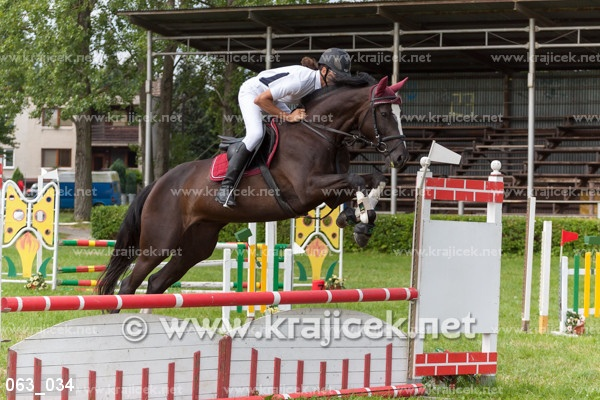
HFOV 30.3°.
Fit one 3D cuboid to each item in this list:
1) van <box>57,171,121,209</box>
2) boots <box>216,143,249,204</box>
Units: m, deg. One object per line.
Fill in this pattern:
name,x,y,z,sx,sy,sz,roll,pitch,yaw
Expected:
van,-7.775,-0.401,40.654,3.688,1.703,1.648,0,-1,4
boots,-1.242,-0.419,20.730,0.663,1.253,0.500,3,1,-20
